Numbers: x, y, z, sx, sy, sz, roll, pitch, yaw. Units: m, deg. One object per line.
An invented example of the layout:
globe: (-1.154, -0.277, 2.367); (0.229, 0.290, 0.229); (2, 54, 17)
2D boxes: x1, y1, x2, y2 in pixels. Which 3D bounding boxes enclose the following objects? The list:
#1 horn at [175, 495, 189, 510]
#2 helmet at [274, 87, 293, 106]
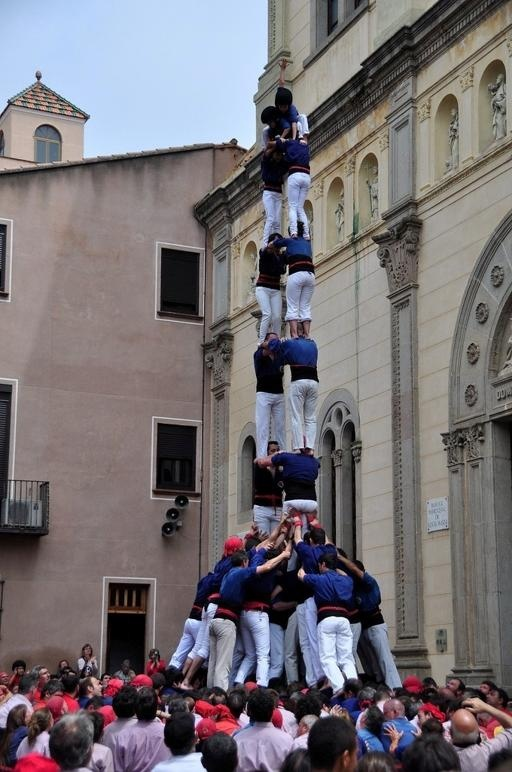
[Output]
horn: (-1.466, 2.287, 26.929); (0.217, 0.272, 0.257); (-15, -4, -7)
helmet: (0.312, -3.393, 15.873); (0.167, 0.297, 0.270); (1, -3, -2)
